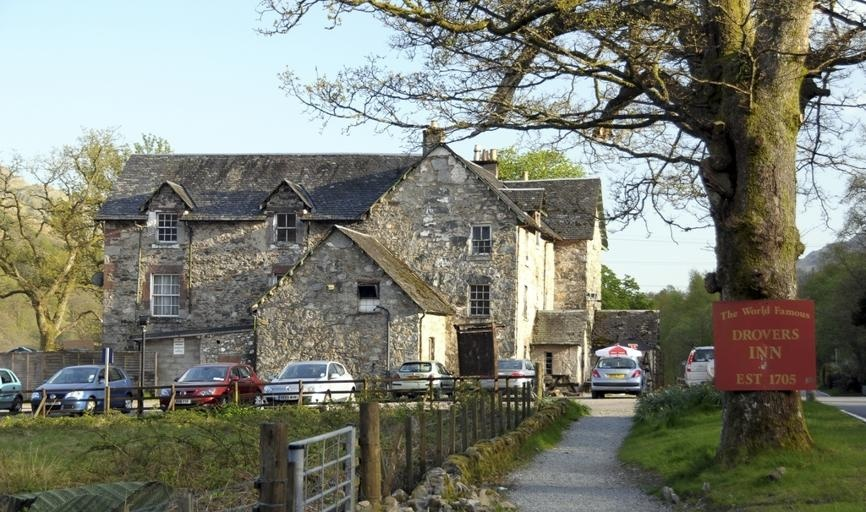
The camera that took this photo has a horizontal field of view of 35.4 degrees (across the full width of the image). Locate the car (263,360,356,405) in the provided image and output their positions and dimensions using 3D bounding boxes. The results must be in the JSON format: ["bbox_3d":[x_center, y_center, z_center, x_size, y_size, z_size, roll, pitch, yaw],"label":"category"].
[{"bbox_3d":[-5.075,5.265,56.397,1.735,1.578,4.412,-1,-3,10],"label":"car"}]

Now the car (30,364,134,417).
[{"bbox_3d":[-14.772,5.589,56.134,1.968,1.906,4.594,0,-3,3],"label":"car"}]

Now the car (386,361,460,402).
[{"bbox_3d":[-1.210,5.485,58.880,2.176,1.728,4.694,0,0,9],"label":"car"}]

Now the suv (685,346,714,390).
[{"bbox_3d":[12.179,5.076,60.311,1.850,1.728,3.082,0,4,5],"label":"suv"}]
